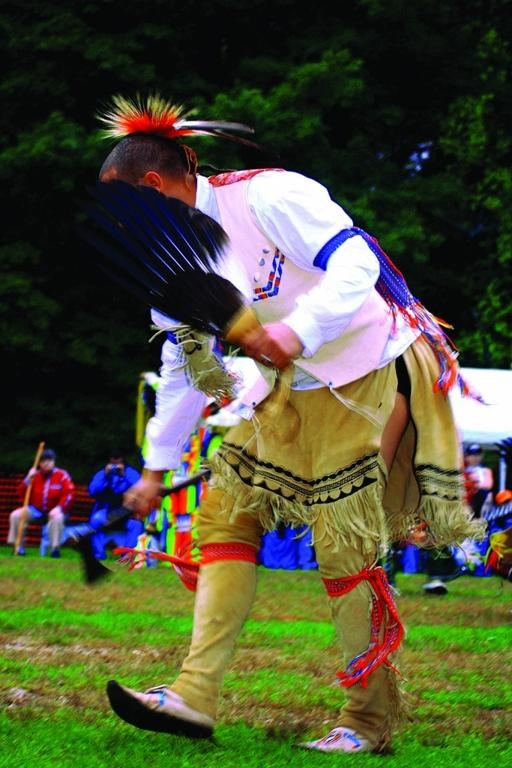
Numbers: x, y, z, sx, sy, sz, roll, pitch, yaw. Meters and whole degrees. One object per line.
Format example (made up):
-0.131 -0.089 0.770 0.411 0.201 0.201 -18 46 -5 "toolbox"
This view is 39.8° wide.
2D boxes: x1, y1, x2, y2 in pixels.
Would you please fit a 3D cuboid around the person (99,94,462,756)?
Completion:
0.072 0.090 1.748 0.604 1.574 0.959 -2 -10 43 "person"

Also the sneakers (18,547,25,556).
-2.719 1.962 8.269 0.105 0.070 0.130 3 -1 -6 "sneakers"

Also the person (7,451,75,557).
-2.510 1.387 8.295 0.798 1.225 0.521 4 -7 6 "person"

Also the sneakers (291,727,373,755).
0.182 0.840 1.677 0.189 0.060 0.056 7 -20 -5 "sneakers"
